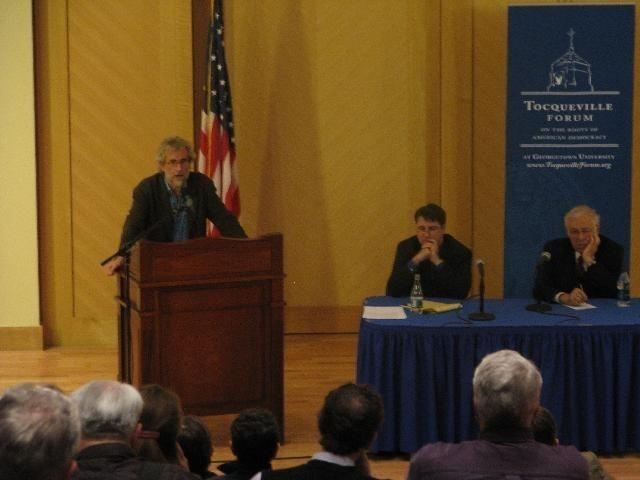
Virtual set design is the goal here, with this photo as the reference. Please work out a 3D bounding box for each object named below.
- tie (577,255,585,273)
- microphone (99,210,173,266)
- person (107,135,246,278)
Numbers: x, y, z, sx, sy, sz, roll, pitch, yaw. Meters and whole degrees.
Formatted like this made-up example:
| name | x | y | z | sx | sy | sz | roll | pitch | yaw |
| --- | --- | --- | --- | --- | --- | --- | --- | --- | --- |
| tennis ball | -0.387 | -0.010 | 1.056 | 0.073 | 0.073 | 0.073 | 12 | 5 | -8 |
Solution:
| name | x | y | z | sx | sy | sz | roll | pitch | yaw |
| --- | --- | --- | --- | --- | --- | --- | --- | --- | --- |
| tie | 2.124 | 0.188 | 8.465 | 0.033 | 0.101 | 0.073 | 4 | 0 | 44 |
| microphone | -1.444 | -0.030 | 8.227 | 0.743 | 0.084 | 0.159 | -37 | -18 | 30 |
| person | -1.182 | -0.295 | 8.502 | 1.197 | 1.359 | 0.722 | -2 | 7 | -20 |
